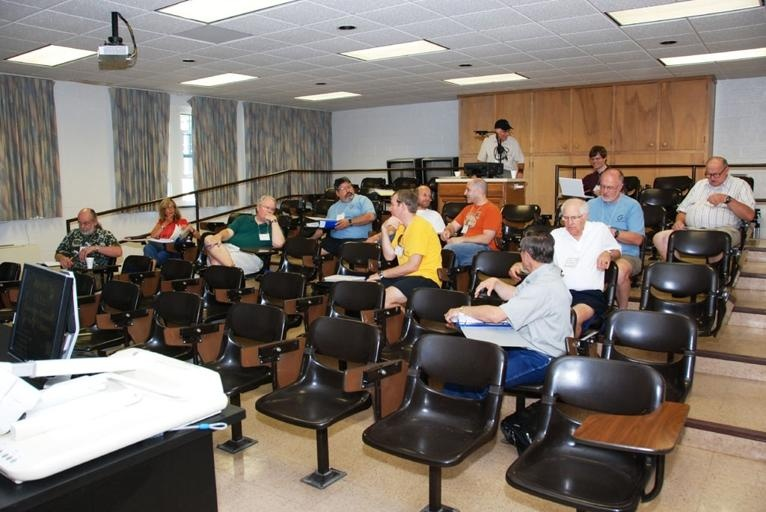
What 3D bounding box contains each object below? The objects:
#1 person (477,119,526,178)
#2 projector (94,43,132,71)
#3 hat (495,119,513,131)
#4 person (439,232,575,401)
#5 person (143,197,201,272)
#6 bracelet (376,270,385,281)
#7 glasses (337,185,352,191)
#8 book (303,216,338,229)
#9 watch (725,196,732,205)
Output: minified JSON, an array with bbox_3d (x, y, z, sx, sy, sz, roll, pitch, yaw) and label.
[{"bbox_3d":[2.018,-1.768,8.970,0.775,0.930,0.999,-2,11,2],"label":"person"},{"bbox_3d":[-2.645,-1.965,5.325,0.251,0.181,0.351,-8,12,-30],"label":"projector"},{"bbox_3d":[1.935,-2.102,8.674,0.187,0.201,0.499,1,11,17],"label":"hat"},{"bbox_3d":[0.809,0.353,3.412,0.771,0.962,0.578,-11,14,-36],"label":"person"},{"bbox_3d":[-2.781,-0.244,7.031,0.675,0.866,0.713,11,22,28],"label":"person"},{"bbox_3d":[-0.005,0.184,4.758,0.060,0.069,0.080,4,0,7],"label":"bracelet"},{"bbox_3d":[-0.504,-0.851,6.875,0.132,0.041,0.130,-8,4,-44],"label":"glasses"},{"bbox_3d":[-0.720,-0.389,6.497,0.313,0.071,0.303,-5,7,-41],"label":"book"},{"bbox_3d":[3.510,-0.566,5.502,0.039,0.069,0.079,21,4,19],"label":"watch"}]
